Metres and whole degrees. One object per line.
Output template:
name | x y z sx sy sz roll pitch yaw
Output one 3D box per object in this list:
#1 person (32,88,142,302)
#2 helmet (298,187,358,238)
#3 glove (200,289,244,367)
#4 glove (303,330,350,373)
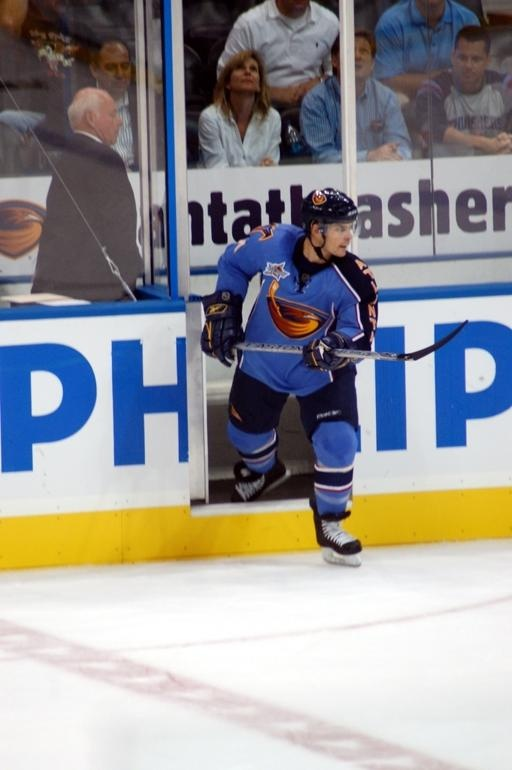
person | -0.729 -0.830 5.268 0.446 0.885 0.748 -2 10 -9
helmet | 0.241 -0.567 4.046 0.139 0.159 0.132 -2 12 17
glove | -0.125 -0.190 4.205 0.170 0.118 0.276 -20 -19 -11
glove | 0.208 -0.104 3.869 0.097 0.062 0.125 6 20 35
